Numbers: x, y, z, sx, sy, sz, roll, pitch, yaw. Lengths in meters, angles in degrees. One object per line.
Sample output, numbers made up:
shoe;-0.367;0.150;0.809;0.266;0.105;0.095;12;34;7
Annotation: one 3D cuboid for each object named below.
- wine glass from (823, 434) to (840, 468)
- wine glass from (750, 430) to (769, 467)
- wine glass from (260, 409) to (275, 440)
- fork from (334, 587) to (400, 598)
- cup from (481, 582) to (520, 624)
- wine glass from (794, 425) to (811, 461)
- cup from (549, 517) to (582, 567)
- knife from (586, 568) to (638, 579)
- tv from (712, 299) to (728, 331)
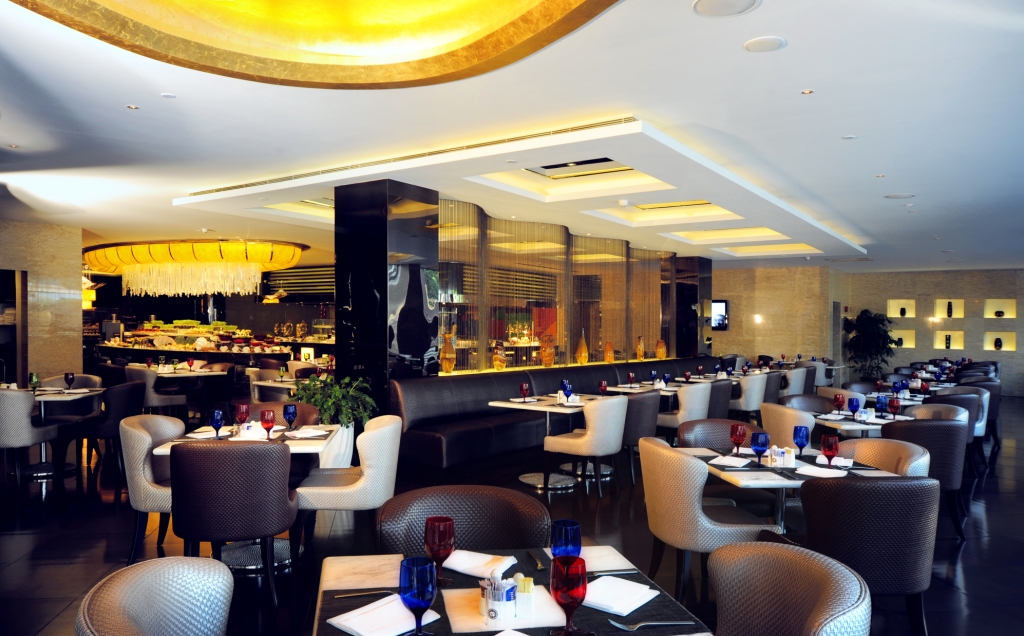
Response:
wine glass;2.493;1.031;5.649;0.101;0.246;0.228;0;0;23
wine glass;1.987;1.023;5.757;0.111;0.231;0.259;0;0;20
wine glass;-2.162;0.932;6.335;0.098;0.227;0.332;0;0;-22
fork;-0.805;1.515;3.968;0.334;0.040;0.061;0;0;-6
cup;-0.066;1.504;3.875;0.160;0.194;0.186;-1;-2;28
wine glass;2.391;1.012;5.931;0.106;0.263;0.313;0;0;26
cup;0.291;1.213;3.935;0.189;0.174;0.186;-1;-8;0
knife;0.568;1.459;4.114;0.147;0.033;0.142;2;-4;-34
tv;5.029;-0.052;17.398;0.802;0.775;0.079;-2;2;-36
